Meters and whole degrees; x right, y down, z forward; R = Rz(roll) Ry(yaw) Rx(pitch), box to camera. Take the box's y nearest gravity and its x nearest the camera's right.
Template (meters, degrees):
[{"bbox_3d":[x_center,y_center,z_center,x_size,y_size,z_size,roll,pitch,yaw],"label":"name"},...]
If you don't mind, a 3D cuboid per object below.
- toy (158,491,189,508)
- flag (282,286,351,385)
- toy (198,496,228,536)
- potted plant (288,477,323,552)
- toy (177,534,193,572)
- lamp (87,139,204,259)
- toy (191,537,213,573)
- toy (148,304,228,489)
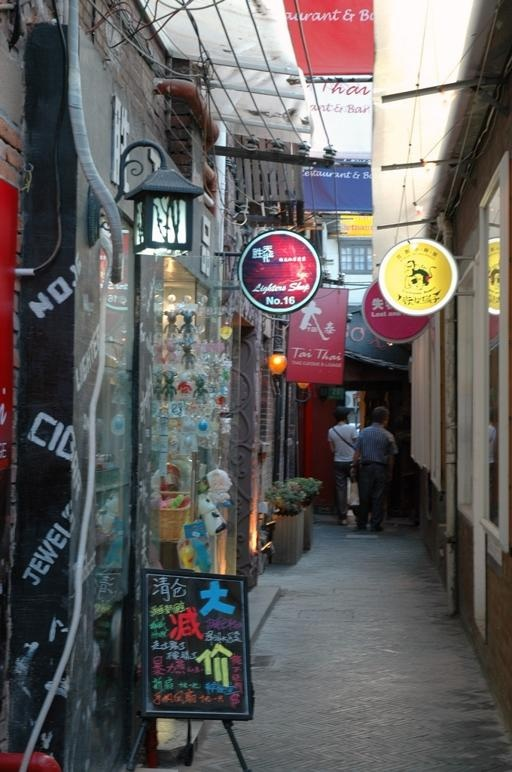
[{"bbox_3d":[-0.492,0.690,4.122,0.045,0.092,0.257,-3,-6,26],"label":"toy"},{"bbox_3d":[0.871,-0.748,9.883,0.862,1.405,0.453,0,-5,0],"label":"flag"},{"bbox_3d":[-0.284,0.843,4.487,0.106,0.274,0.329,-1,-5,11],"label":"toy"},{"bbox_3d":[0.668,2.035,10.976,0.673,1.174,0.786,2,-12,-5],"label":"potted plant"},{"bbox_3d":[-0.425,1.015,4.168,0.112,0.210,0.109,1,-5,-13],"label":"toy"},{"bbox_3d":[-0.457,-0.740,3.000,0.372,0.649,0.735,4,-9,-25],"label":"lamp"},{"bbox_3d":[-0.338,1.055,4.278,0.065,0.198,0.144,-12,-8,32],"label":"toy"},{"bbox_3d":[-0.385,0.048,4.229,0.370,1.035,0.436,3,4,5],"label":"toy"}]
